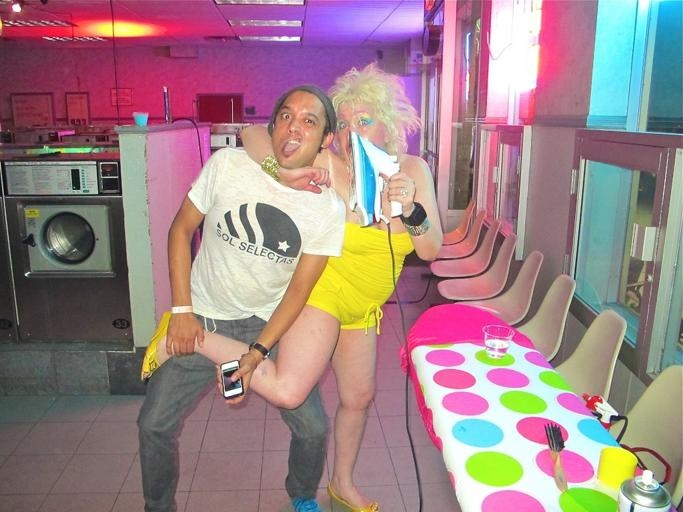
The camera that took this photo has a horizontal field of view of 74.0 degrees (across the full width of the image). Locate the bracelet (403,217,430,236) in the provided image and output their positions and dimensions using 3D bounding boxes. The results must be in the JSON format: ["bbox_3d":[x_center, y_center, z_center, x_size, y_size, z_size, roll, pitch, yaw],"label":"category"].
[{"bbox_3d":[0.310,-0.162,1.869,0.080,0.052,0.081,-9,25,49],"label":"bracelet"}]

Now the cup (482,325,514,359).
[{"bbox_3d":[0.688,0.341,1.992,0.126,0.099,0.128,0,13,0],"label":"cup"}]

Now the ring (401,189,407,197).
[{"bbox_3d":[0.237,-0.293,1.733,0.029,0.032,0.010,0,3,-2],"label":"ring"}]

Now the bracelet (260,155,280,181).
[{"bbox_3d":[-0.279,-0.399,1.775,0.073,0.101,0.037,-2,11,1],"label":"bracelet"}]

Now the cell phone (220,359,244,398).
[{"bbox_3d":[-0.439,0.483,1.810,0.091,0.147,0.072,-6,12,-18],"label":"cell phone"}]

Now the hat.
[{"bbox_3d":[-0.128,-0.605,1.816,0.191,0.246,0.109,3,6,-11],"label":"hat"}]

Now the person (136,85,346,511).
[{"bbox_3d":[-0.430,0.280,1.925,0.914,2.037,0.355,-3,11,-4],"label":"person"}]

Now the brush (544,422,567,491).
[{"bbox_3d":[0.625,0.580,1.313,0.050,0.181,0.019,-2,-30,0],"label":"brush"}]

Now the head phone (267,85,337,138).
[{"bbox_3d":[-0.118,-0.606,1.789,0.191,0.246,0.105,4,6,-11],"label":"head phone"}]

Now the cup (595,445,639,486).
[{"bbox_3d":[0.781,0.598,1.269,0.090,0.112,0.108,11,4,34],"label":"cup"}]
